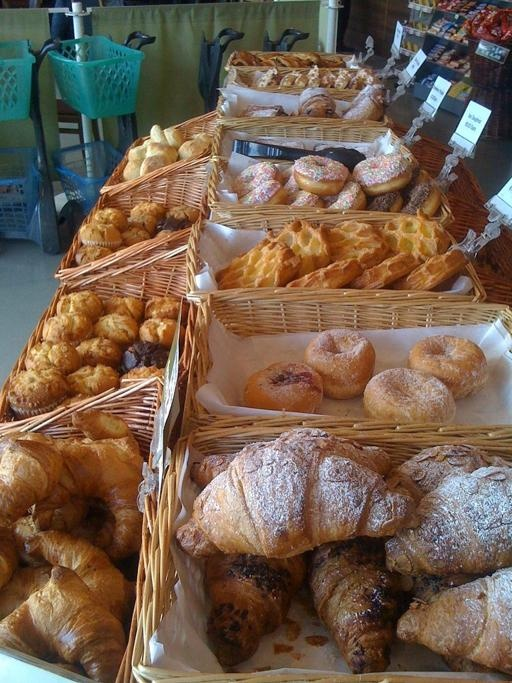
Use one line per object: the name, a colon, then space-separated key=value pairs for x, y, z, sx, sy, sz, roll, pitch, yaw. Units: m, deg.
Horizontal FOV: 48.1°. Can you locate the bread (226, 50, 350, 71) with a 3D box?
bread: x=0.135 y=-1.335 z=2.705 sx=0.482 sy=0.092 sz=0.261 roll=1 pitch=33 yaw=2

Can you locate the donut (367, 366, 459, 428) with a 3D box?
donut: x=0.295 y=0.100 z=1.103 sx=0.143 sy=0.050 sz=0.136 roll=7 pitch=45 yaw=29

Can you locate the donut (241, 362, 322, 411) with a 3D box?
donut: x=0.045 y=0.091 z=1.131 sx=0.112 sy=0.056 sz=0.110 roll=-15 pitch=31 yaw=-10

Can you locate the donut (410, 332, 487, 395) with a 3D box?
donut: x=0.393 y=0.040 z=1.193 sx=0.129 sy=0.054 sz=0.131 roll=-17 pitch=33 yaw=-4

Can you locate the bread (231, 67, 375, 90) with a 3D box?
bread: x=0.186 y=-1.110 z=2.414 sx=0.484 sy=0.100 sz=0.271 roll=2 pitch=35 yaw=7

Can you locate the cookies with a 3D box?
cookies: x=0.231 y=-0.214 z=1.415 sx=0.463 sy=0.100 sz=0.265 roll=-1 pitch=35 yaw=11

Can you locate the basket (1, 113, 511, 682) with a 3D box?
basket: x=0.145 y=-0.101 z=1.575 sx=1.016 sy=0.370 sz=1.596 roll=1 pitch=38 yaw=3

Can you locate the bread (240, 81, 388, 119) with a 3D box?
bread: x=0.218 y=-0.890 z=2.132 sx=0.523 sy=0.126 sz=0.374 roll=9 pitch=32 yaw=7
